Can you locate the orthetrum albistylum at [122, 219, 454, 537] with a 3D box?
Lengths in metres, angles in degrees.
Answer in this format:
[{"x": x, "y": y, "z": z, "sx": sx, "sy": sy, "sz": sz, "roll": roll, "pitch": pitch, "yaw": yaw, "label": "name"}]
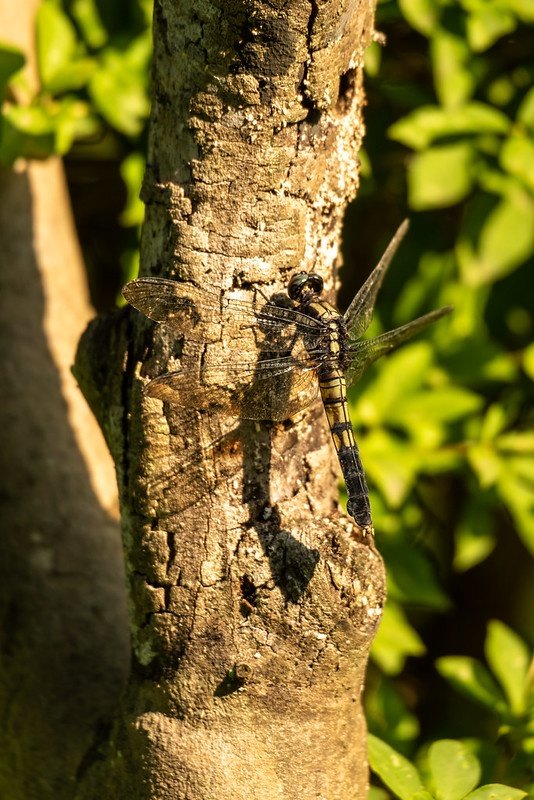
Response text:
[{"x": 0.037, "y": -0.029, "z": 2.434, "sx": 0.385, "sy": 0.509, "sz": 0.534, "roll": 22, "pitch": 39, "yaw": 38, "label": "orthetrum albistylum"}]
